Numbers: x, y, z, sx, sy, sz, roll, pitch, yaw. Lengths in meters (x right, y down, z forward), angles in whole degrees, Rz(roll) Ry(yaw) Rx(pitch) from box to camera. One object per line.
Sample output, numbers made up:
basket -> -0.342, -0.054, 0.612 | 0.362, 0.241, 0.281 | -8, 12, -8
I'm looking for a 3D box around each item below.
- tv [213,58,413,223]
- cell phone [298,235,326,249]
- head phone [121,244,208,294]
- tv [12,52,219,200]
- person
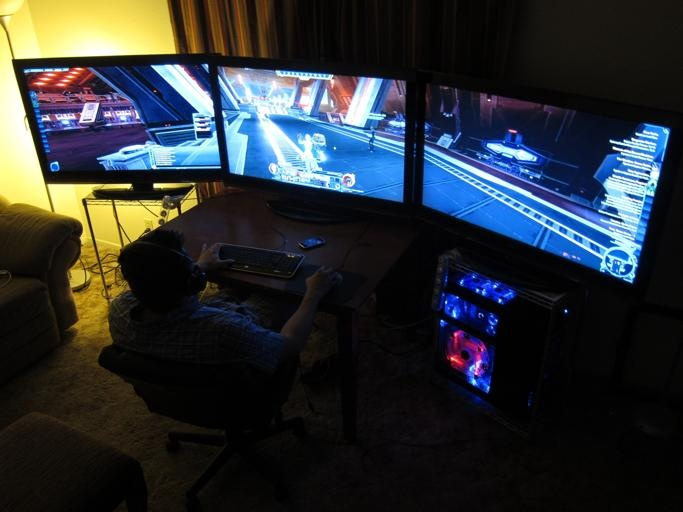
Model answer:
tv -> -0.129, -0.609, 2.736 | 0.984, 0.615, 0.103 | 9, 30, 18
cell phone -> -0.147, -0.067, 2.658 | 0.094, 0.021, 0.068 | -16, 28, -33
head phone -> -0.652, 0.031, 1.915 | 0.216, 0.179, 0.205 | -2, 51, 0
tv -> -1.321, -0.801, 3.163 | 1.284, 0.854, 0.324 | 0, 36, -1
person -> -0.440, 0.205, 2.277 | 0.644, 0.961, 0.564 | -26, 58, -22
